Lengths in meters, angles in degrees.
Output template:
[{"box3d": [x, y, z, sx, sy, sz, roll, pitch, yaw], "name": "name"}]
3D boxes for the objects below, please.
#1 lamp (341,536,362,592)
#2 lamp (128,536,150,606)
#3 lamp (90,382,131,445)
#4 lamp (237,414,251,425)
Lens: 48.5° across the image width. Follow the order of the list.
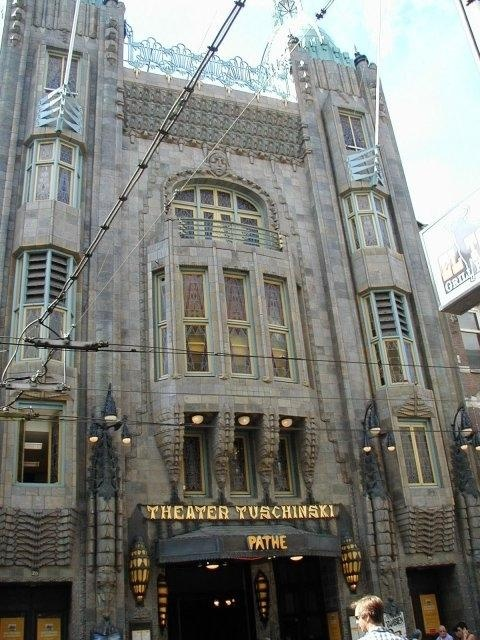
[{"box3d": [3.909, 8.623, 18.742, 0.656, 1.649, 0.735, -5, -28, -3], "name": "lamp"}, {"box3d": [-3.031, 7.461, 15.794, 0.522, 1.610, 0.730, 6, -31, -23], "name": "lamp"}, {"box3d": [-4.144, 2.920, 16.945, 1.160, 1.958, 1.310, 2, -13, -14], "name": "lamp"}, {"box3d": [0.153, 3.580, 18.937, 0.477, 0.316, 0.722, -8, -30, 1], "name": "lamp"}]
